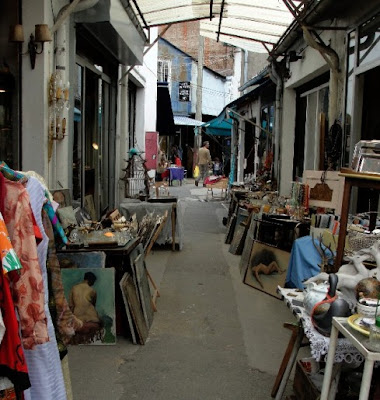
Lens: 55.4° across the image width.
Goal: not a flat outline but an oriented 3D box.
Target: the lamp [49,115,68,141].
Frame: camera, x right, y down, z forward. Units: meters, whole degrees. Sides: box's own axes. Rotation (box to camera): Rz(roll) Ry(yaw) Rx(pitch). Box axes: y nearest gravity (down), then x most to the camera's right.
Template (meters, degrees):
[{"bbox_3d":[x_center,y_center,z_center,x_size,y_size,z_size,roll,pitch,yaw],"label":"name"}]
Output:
[{"bbox_3d":[-1.448,-0.791,3.976,0.101,0.265,0.296,1,5,4],"label":"lamp"}]

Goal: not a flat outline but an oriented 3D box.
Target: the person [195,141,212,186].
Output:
[{"bbox_3d":[0.588,-1.779,17.050,0.514,2.256,0.526,1,32,-3],"label":"person"}]

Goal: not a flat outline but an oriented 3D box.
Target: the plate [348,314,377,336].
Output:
[{"bbox_3d":[0.684,0.488,1.450,0.095,0.037,0.237,4,6,25],"label":"plate"}]

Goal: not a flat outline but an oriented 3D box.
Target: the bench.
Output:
[{"bbox_3d":[-0.547,0.315,6.395,0.710,0.762,0.855,1,10,6],"label":"bench"}]

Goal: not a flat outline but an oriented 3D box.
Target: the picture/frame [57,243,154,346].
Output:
[{"bbox_3d":[-0.682,0.805,3.369,0.574,1.032,0.898,0,6,6],"label":"picture/frame"}]

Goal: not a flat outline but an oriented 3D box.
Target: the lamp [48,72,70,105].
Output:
[{"bbox_3d":[-1.447,-1.209,3.941,0.113,0.392,0.296,1,5,8],"label":"lamp"}]

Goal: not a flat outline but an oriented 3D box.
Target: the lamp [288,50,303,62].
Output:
[{"bbox_3d":[2.055,-2.789,7.029,0.242,0.235,0.212,2,12,9],"label":"lamp"}]

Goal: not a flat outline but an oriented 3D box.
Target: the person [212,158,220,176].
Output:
[{"bbox_3d":[1.579,-2.035,21.778,0.403,1.032,1.638,1,5,3],"label":"person"}]

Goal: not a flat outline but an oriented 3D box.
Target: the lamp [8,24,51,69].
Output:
[{"bbox_3d":[-1.557,-1.489,3.524,0.302,0.416,0.180,-8,18,-24],"label":"lamp"}]

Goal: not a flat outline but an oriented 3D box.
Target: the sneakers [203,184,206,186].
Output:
[{"bbox_3d":[0.678,-0.694,17.414,0.134,0.182,0.110,-1,-2,-9],"label":"sneakers"}]

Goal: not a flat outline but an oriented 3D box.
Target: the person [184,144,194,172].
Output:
[{"bbox_3d":[-0.065,-3.057,27.049,0.954,2.285,0.445,5,6,44],"label":"person"}]

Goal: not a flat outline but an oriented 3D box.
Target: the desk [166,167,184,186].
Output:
[{"bbox_3d":[-0.766,-1.255,19.311,0.753,1.049,0.889,0,1,-11],"label":"desk"}]

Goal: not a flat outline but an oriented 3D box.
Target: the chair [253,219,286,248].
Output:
[{"bbox_3d":[1.159,0.490,5.306,0.445,0.465,0.512,6,3,15],"label":"chair"}]

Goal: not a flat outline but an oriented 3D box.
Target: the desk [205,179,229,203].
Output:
[{"bbox_3d":[0.992,-0.374,14.088,0.794,0.936,0.759,0,1,2],"label":"desk"}]

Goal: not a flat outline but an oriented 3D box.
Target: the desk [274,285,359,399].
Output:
[{"bbox_3d":[0.691,0.790,1.961,0.331,0.398,0.673,9,2,-5],"label":"desk"}]
